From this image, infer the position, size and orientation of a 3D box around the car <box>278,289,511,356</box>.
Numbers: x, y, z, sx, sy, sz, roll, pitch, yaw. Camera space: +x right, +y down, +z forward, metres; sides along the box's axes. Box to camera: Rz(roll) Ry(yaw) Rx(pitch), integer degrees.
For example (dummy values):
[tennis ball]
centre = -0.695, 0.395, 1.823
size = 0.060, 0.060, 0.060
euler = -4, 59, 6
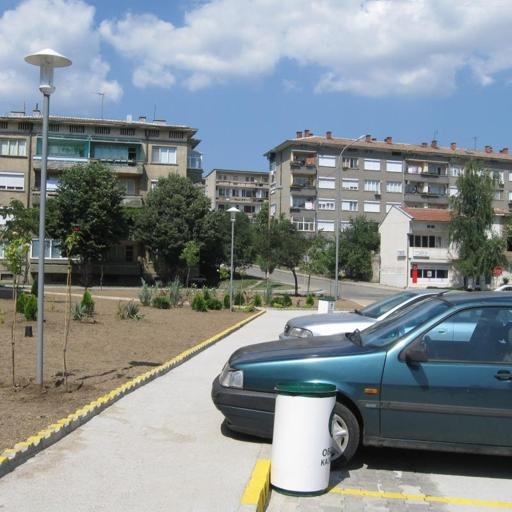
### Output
[car]
centre = 1.793, 1.259, 11.458
size = 2.813, 1.064, 1.348
euler = 0, 0, 2

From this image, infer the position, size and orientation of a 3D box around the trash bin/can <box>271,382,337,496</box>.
[trash bin/can]
centre = 0.416, 1.630, 6.671
size = 0.762, 0.978, 0.794
euler = 4, 1, -8
